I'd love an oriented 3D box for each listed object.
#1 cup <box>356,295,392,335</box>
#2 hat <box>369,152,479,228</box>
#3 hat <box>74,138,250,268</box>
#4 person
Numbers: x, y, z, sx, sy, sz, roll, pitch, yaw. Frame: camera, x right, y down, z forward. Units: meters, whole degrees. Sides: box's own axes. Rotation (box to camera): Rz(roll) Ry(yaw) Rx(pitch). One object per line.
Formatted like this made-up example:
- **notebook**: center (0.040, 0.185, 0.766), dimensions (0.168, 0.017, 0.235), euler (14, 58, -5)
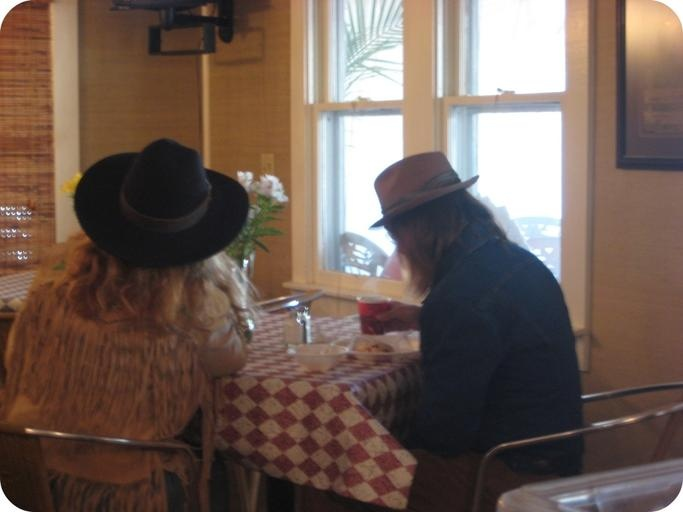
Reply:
- **cup**: center (0.110, 0.208, 2.644), dimensions (0.133, 0.141, 0.131), euler (1, -2, 0)
- **hat**: center (0.267, -0.243, 2.410), dimensions (0.294, 0.109, 0.245), euler (-25, 2, 5)
- **hat**: center (-0.558, -0.134, 2.196), dimensions (0.435, 0.177, 0.469), euler (13, 35, 0)
- **person**: center (-0.213, 0.183, 2.261), dimensions (1.380, 0.775, 1.371), euler (9, 12, 26)
